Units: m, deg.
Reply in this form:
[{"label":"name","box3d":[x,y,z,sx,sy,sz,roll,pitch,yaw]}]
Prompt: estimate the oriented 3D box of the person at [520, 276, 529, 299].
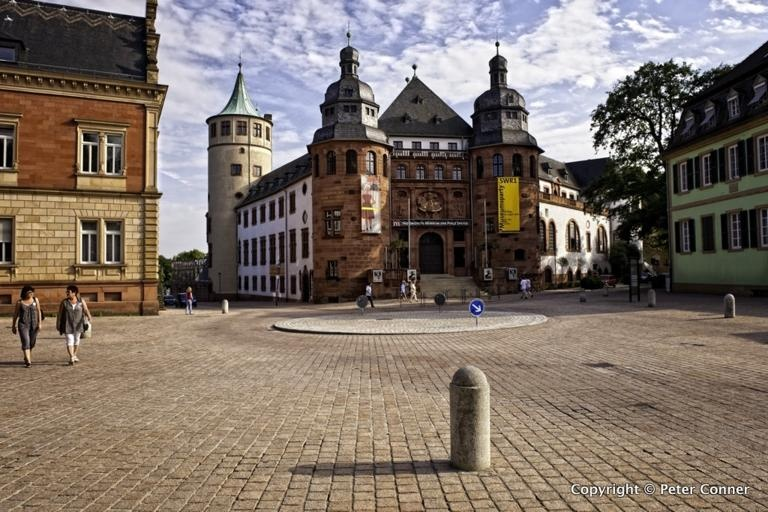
[{"label":"person","box3d":[9.449,2.319,45.618,0.484,1.294,1.377,2,13,11]}]
